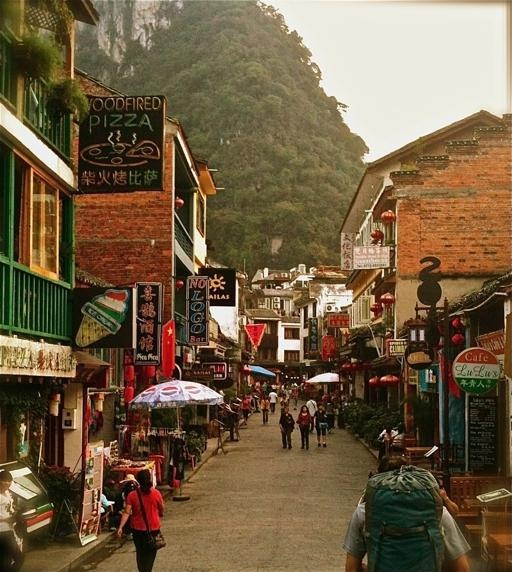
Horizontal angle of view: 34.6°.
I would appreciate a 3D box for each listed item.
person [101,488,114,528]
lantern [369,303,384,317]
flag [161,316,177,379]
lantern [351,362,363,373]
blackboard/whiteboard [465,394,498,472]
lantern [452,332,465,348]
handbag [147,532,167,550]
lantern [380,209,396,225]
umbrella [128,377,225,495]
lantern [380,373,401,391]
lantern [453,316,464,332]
[{"bbox_3d":[-2.332,3.493,12.794,0.189,0.545,1.225,0,-10,-10],"label":"person"},{"bbox_3d":[4.668,0.900,31.908,0.538,0.764,0.637,2,4,2],"label":"lantern"},{"bbox_3d":[-2.005,1.402,18.491,0.254,1.308,0.235,0,-7,-1],"label":"flag"},{"bbox_3d":[4.757,3.787,38.782,0.458,0.358,1.275,-1,-10,-3],"label":"lantern"},{"bbox_3d":[4.257,2.668,15.408,0.562,1.732,0.144,-2,36,13],"label":"blackboard/whiteboard"},{"bbox_3d":[3.582,0.950,14.783,0.264,0.346,0.278,-1,-1,38],"label":"lantern"},{"bbox_3d":[-1.074,2.783,8.962,0.128,0.190,0.240,-5,-10,24],"label":"handbag"},{"bbox_3d":[4.288,-2.320,26.690,0.425,0.554,0.492,-2,-6,36],"label":"lantern"},{"bbox_3d":[-1.649,2.558,16.927,1.779,1.398,1.881,-3,-3,13],"label":"umbrella"},{"bbox_3d":[4.569,3.272,28.278,0.584,0.496,0.606,-9,-13,44],"label":"lantern"},{"bbox_3d":[3.842,0.702,15.607,0.246,0.296,0.267,-2,6,-2],"label":"lantern"}]
